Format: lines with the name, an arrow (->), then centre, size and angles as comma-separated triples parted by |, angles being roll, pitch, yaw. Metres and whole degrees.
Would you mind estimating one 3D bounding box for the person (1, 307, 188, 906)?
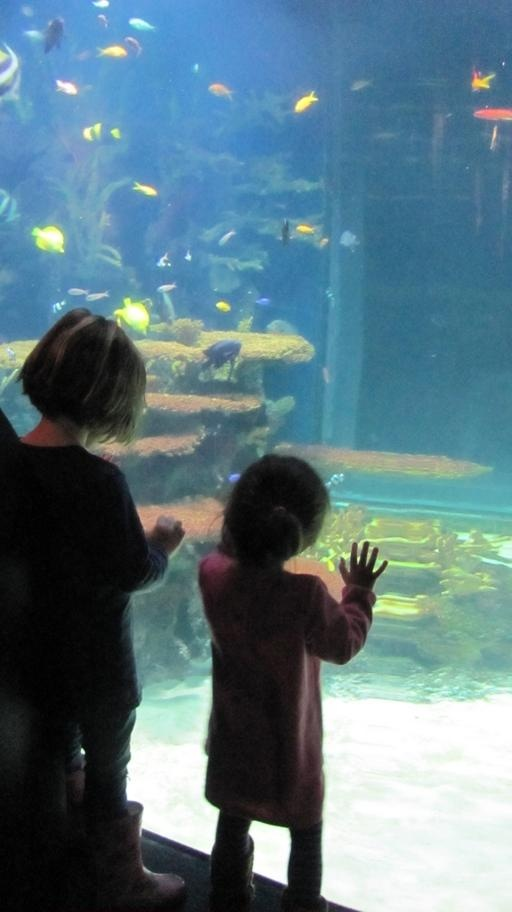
person -> -0.548, 0.559, 2.344 | 0.392, 2.038, 0.705 | 5, 2, 26
